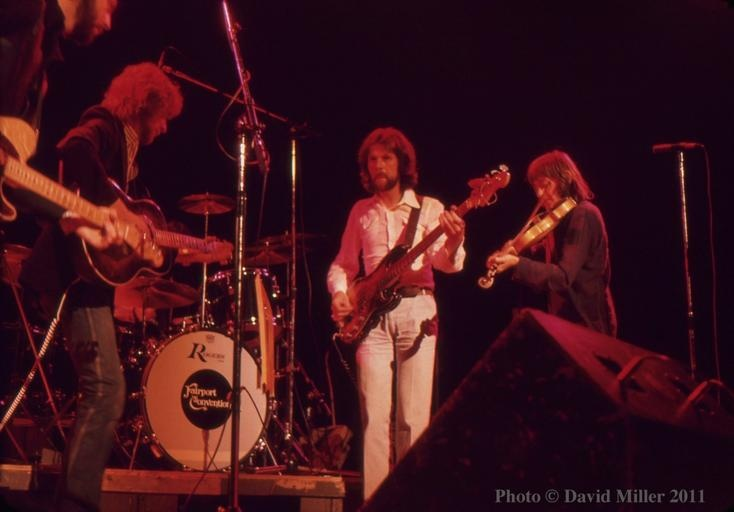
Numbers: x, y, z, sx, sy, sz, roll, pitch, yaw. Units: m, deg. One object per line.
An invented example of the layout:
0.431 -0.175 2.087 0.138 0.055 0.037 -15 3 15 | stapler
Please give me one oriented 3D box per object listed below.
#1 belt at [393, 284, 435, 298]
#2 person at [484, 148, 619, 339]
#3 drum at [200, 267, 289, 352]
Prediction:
0.352 0.273 5.715 0.309 0.104 0.058 10 -7 -30 | belt
1.440 0.241 6.004 0.895 2.126 0.735 -7 15 -26 | person
-1.079 0.427 6.852 0.629 0.530 0.690 -5 -25 -2 | drum
